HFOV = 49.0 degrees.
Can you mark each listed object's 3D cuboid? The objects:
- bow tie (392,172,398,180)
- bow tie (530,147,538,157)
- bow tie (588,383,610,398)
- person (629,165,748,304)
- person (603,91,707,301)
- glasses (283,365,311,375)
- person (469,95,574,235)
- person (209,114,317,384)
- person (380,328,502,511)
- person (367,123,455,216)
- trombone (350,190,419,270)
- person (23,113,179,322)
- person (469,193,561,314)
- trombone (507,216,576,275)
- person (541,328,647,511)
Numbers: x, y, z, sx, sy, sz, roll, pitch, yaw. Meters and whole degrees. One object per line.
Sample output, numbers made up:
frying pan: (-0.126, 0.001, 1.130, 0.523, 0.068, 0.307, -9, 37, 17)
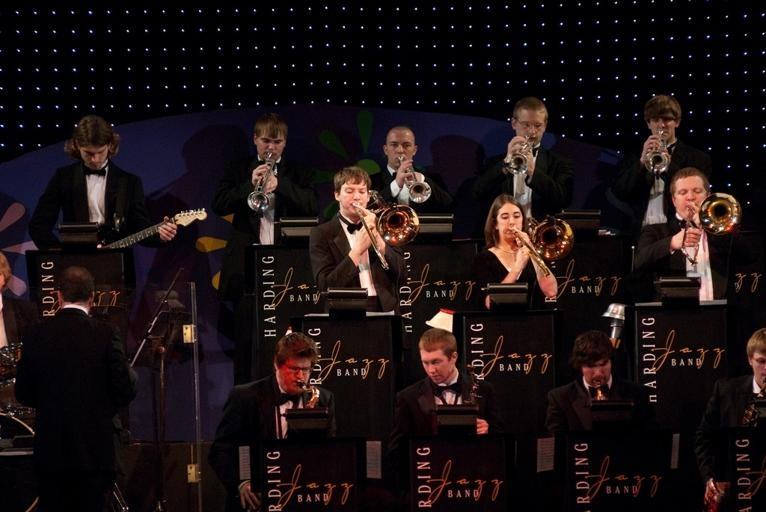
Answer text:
bow tie: (0.123, -0.743, 7.658, 0.045, 0.038, 0.163, -2, 43, -4)
bow tie: (1.413, -0.966, 7.734, 0.088, 0.067, 0.071, 0, 4, 9)
bow tie: (1.627, 0.999, 6.253, 0.108, 0.075, 0.106, -2, -1, 21)
person: (2.595, -0.122, 7.325, 0.841, 1.168, 0.816, -1, -7, 0)
person: (2.577, -0.653, 7.674, 0.768, 2.026, 0.644, 1, -10, -4)
glasses: (-0.589, 0.806, 6.011, 0.194, 0.059, 0.068, 2, -1, -21)
person: (1.271, -0.783, 7.886, 0.875, 1.214, 0.595, -10, 22, -38)
person: (-1.118, -0.285, 7.552, 0.765, 2.691, 0.704, -7, 12, -29)
person: (0.447, 1.180, 5.989, 0.793, 1.289, 0.626, 2, 0, -2)
person: (0.311, -0.752, 7.665, 0.631, 0.887, 0.569, 1, 17, -3)
trombone: (0.026, -0.265, 6.843, 0.371, 0.373, 0.734, -11, 19, -11)
person: (-2.503, -0.307, 7.658, 1.020, 1.733, 1.153, -2, -24, 0)
person: (1.072, -0.023, 6.785, 0.573, 0.951, 0.599, -2, -7, 0)
trombone: (1.301, -0.110, 6.950, 0.326, 0.380, 0.572, -22, 5, -8)
person: (1.539, 1.036, 6.059, 0.673, 1.409, 0.512, 1, 2, 0)
